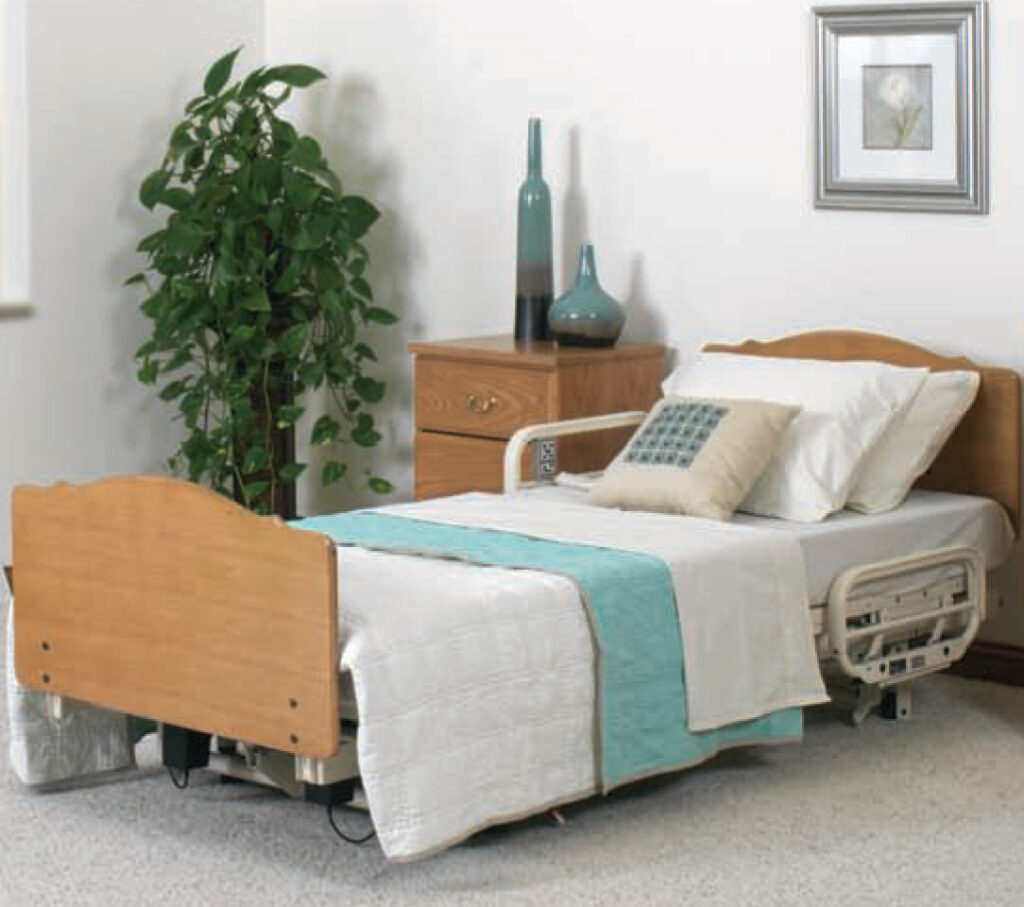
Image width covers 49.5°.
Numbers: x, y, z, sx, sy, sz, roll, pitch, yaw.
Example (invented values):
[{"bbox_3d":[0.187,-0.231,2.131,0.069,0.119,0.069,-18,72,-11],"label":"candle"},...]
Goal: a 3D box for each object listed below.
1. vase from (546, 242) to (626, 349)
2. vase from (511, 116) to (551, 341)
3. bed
[{"bbox_3d":[0.253,-0.530,3.701,0.250,0.337,0.256,9,15,39],"label":"vase"},{"bbox_3d":[0.078,-0.764,3.828,0.130,0.779,0.238,0,5,0],"label":"vase"},{"bbox_3d":[0.055,0.088,2.411,1.672,0.746,1.053,-10,14,-40],"label":"bed"}]
